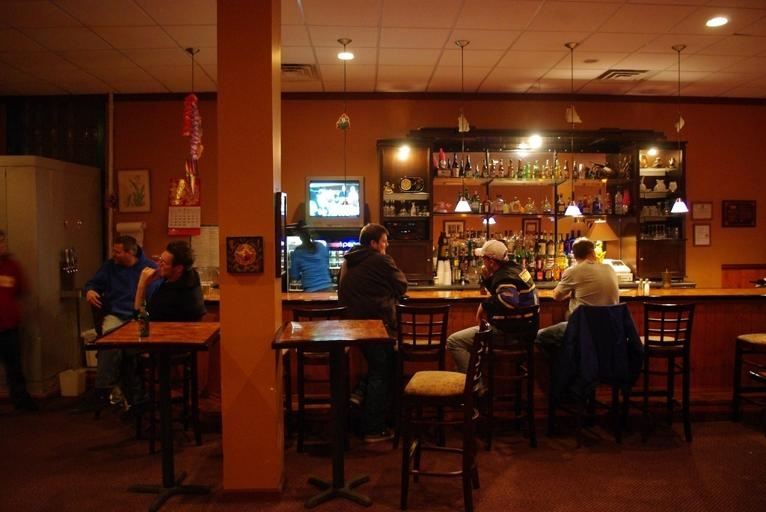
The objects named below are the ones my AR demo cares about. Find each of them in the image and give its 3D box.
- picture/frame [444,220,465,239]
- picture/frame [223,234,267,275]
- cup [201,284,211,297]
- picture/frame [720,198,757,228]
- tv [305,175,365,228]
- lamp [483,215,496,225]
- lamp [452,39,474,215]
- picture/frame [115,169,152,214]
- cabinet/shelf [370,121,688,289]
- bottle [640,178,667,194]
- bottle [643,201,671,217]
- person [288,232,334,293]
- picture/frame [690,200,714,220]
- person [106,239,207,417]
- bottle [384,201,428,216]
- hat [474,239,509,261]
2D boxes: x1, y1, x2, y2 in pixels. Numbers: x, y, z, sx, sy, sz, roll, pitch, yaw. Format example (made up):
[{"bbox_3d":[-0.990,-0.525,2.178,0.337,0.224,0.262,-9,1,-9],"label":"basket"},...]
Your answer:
[{"bbox_3d":[1.140,-0.415,10.569,0.304,0.282,0.029,2,-4,-2],"label":"picture/frame"},{"bbox_3d":[-1.428,0.003,6.900,0.424,0.413,0.044,0,-4,-4],"label":"picture/frame"},{"bbox_3d":[-2.365,0.470,8.967,0.160,0.199,0.158,1,5,0],"label":"cup"},{"bbox_3d":[5.823,-0.690,11.029,0.500,0.413,0.044,1,0,-1],"label":"picture/frame"},{"bbox_3d":[-0.613,-0.799,10.377,1.018,0.814,0.554,2,5,22],"label":"tv"},{"bbox_3d":[1.684,-0.554,10.478,0.148,0.097,0.150,0,-2,-8],"label":"lamp"},{"bbox_3d":[1.245,-1.802,9.727,0.359,2.547,0.343,-3,3,-6],"label":"lamp"},{"bbox_3d":[-3.986,-1.035,10.688,0.743,0.958,0.083,0,1,-7],"label":"picture/frame"},{"bbox_3d":[2.264,-0.673,10.462,4.643,2.474,0.962,-1,-6,3],"label":"cabinet/shelf"},{"bbox_3d":[4.247,-1.088,10.547,0.448,0.235,0.297,4,0,10],"label":"bottle"},{"bbox_3d":[4.271,-0.725,10.548,0.438,0.230,0.284,0,0,-16],"label":"bottle"},{"bbox_3d":[-1.004,0.067,9.221,0.539,0.830,0.324,-1,4,32],"label":"person"},{"bbox_3d":[5.215,-0.745,10.993,0.314,0.302,0.033,2,2,-2],"label":"picture/frame"},{"bbox_3d":[-2.531,0.337,7.564,0.930,1.715,0.798,4,8,-13],"label":"person"},{"bbox_3d":[0.369,-0.724,10.331,0.685,0.253,0.301,-3,3,-1],"label":"bottle"},{"bbox_3d":[1.293,-0.065,8.027,0.339,0.184,0.231,3,8,25],"label":"hat"}]
